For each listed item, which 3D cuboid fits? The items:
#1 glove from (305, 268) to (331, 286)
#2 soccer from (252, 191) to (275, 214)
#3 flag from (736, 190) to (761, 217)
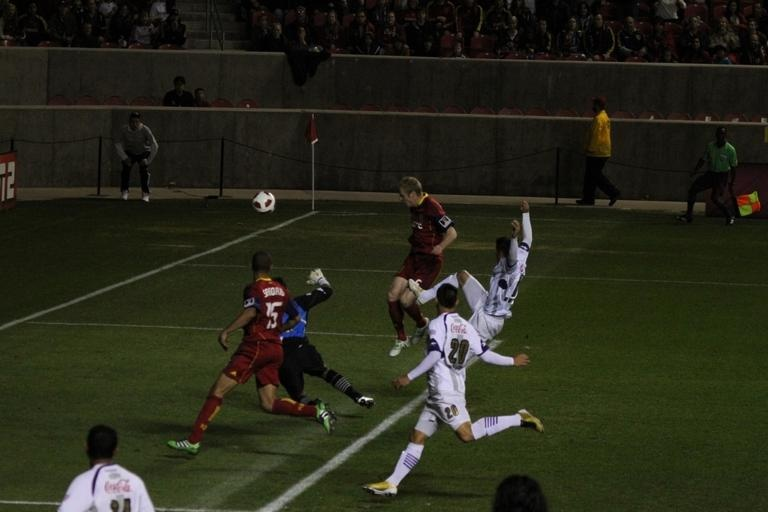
[{"bbox_3d":[-0.954,0.294,16.792,0.323,0.172,0.462,3,-14,7],"label":"glove"},{"bbox_3d":[-2.842,-1.300,27.367,0.427,0.455,0.587,3,5,0],"label":"soccer"},{"bbox_3d":[9.792,-1.471,31.205,0.648,0.554,0.087,-15,14,-20],"label":"flag"}]
